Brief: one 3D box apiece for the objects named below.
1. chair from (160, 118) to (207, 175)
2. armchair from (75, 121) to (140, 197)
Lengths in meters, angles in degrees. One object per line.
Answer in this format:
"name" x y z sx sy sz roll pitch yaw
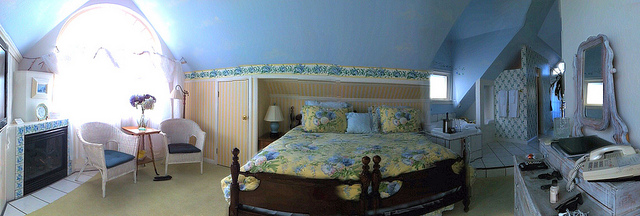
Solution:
"chair" -5.178 1.434 11.385 1.604 1.998 0.896 -2 7 -15
"armchair" -7.556 1.595 10.804 1.604 2.172 1.247 4 7 34
